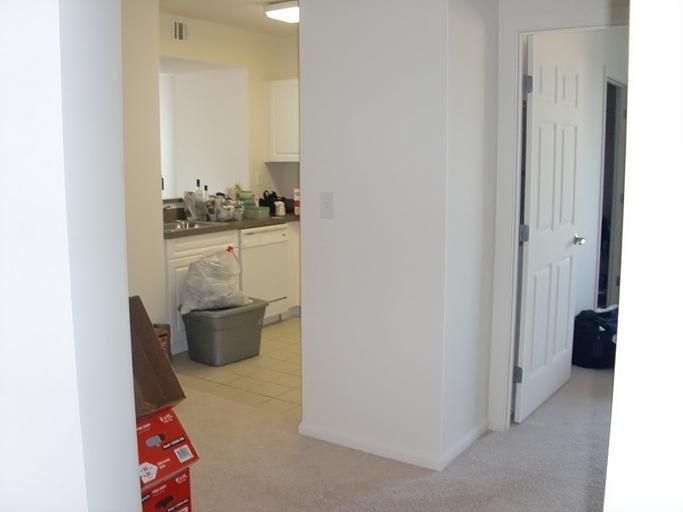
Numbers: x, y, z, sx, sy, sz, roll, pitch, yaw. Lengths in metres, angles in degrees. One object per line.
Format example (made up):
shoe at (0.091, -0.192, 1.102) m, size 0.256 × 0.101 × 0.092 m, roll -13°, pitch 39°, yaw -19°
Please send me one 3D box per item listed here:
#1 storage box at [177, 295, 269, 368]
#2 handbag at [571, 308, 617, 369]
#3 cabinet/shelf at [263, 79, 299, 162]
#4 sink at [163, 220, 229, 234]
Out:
storage box at (-0.882, 0.600, 4.051) m, size 0.439 × 0.395 × 0.545 m, roll 3°, pitch 4°, yaw 34°
handbag at (1.706, 0.566, 3.497) m, size 0.256 × 0.463 × 0.134 m, roll 3°, pitch 9°, yaw 24°
cabinet/shelf at (-0.691, -1.446, 5.457) m, size 0.512 × 0.833 × 0.535 m, roll -4°, pitch 18°, yaw -12°
sink at (-1.293, -0.262, 4.516) m, size 0.311 × 0.125 × 0.265 m, roll 8°, pitch 13°, yaw 33°
